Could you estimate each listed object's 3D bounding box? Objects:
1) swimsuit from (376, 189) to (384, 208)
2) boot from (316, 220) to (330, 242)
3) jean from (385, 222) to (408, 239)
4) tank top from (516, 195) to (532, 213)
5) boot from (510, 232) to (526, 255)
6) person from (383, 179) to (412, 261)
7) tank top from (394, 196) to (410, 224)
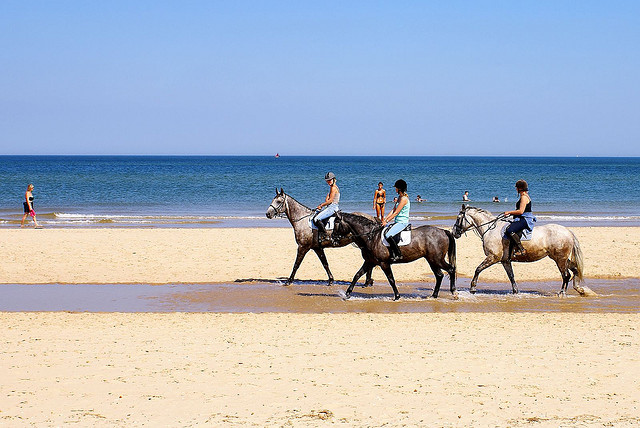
[{"bbox_3d":[2.568,-0.692,44.849,0.371,0.408,0.342,0,9,0],"label":"swimsuit"},{"bbox_3d":[0.113,0.455,32.702,0.360,0.613,0.223,2,0,29],"label":"boot"},{"bbox_3d":[2.259,0.435,31.177,0.539,0.180,0.367,-28,11,16],"label":"jean"},{"bbox_3d":[6.094,-0.312,31.867,0.485,0.439,0.460,6,2,15],"label":"tank top"},{"bbox_3d":[5.928,0.830,31.738,0.348,0.604,0.386,2,0,31],"label":"boot"},{"bbox_3d":[2.285,0.100,31.492,1.090,2.260,0.826,4,9,19],"label":"person"},{"bbox_3d":[2.431,-0.182,31.466,0.368,0.730,0.917,2,0,3],"label":"tank top"}]
